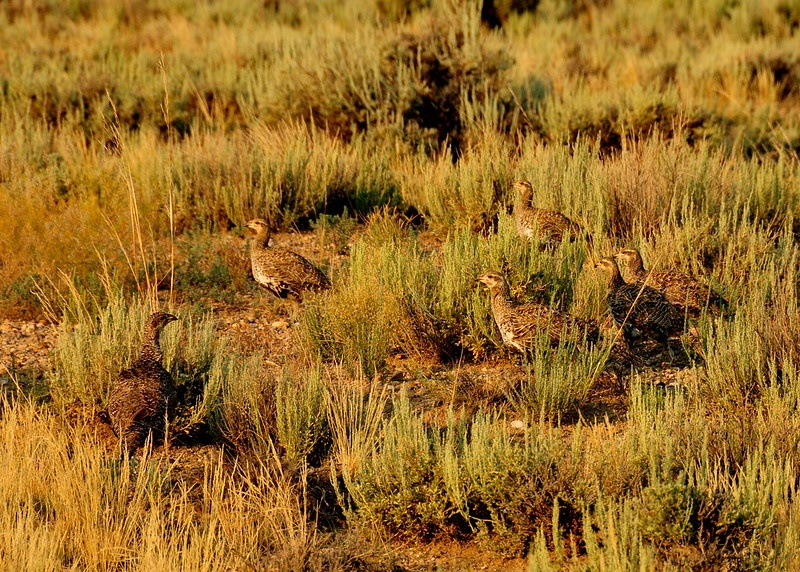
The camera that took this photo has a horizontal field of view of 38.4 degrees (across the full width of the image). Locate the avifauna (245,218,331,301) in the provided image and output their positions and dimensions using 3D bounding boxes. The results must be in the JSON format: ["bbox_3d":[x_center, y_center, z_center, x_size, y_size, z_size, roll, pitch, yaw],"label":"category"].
[{"bbox_3d":[-1.140,-0.245,12.478,0.976,0.914,0.569,5,14,-6],"label":"avifauna"}]

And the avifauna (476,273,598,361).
[{"bbox_3d":[1.245,0.307,10.915,1.167,0.659,0.577,4,24,19],"label":"avifauna"}]
